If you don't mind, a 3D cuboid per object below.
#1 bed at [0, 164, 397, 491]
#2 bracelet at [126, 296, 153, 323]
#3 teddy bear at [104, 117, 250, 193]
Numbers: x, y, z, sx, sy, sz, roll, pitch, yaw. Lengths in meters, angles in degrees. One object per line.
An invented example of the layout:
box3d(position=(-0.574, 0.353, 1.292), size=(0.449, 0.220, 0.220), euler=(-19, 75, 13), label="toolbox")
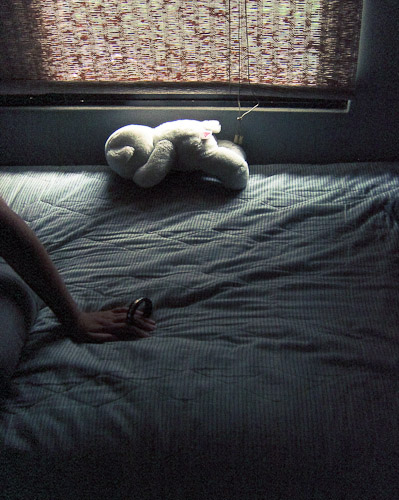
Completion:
box3d(position=(0.057, 0.174, 1.123), size=(0.928, 0.171, 0.821), euler=(0, 38, 3), label="bed")
box3d(position=(-0.136, 0.137, 0.965), size=(0.015, 0.050, 0.057), euler=(18, 22, 28), label="bracelet")
box3d(position=(-0.071, -0.363, 1.578), size=(0.481, 0.213, 0.279), euler=(4, 23, 6), label="teddy bear")
